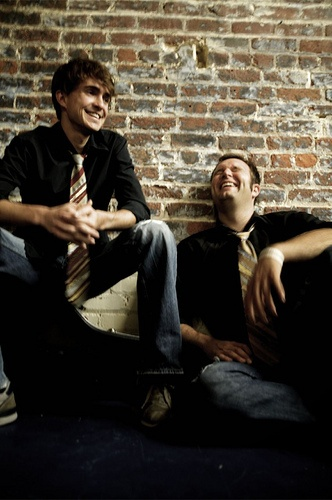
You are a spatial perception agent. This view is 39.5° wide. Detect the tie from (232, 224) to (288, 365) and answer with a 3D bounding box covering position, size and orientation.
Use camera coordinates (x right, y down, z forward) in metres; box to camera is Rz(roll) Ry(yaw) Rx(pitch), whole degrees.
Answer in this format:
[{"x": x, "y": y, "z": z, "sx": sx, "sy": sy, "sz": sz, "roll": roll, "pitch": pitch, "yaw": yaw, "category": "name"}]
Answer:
[{"x": 0.307, "y": 0.147, "z": 1.598, "sx": 0.050, "sy": 0.444, "sz": 0.088, "roll": 2, "pitch": -23, "yaw": -43, "category": "tie"}]
